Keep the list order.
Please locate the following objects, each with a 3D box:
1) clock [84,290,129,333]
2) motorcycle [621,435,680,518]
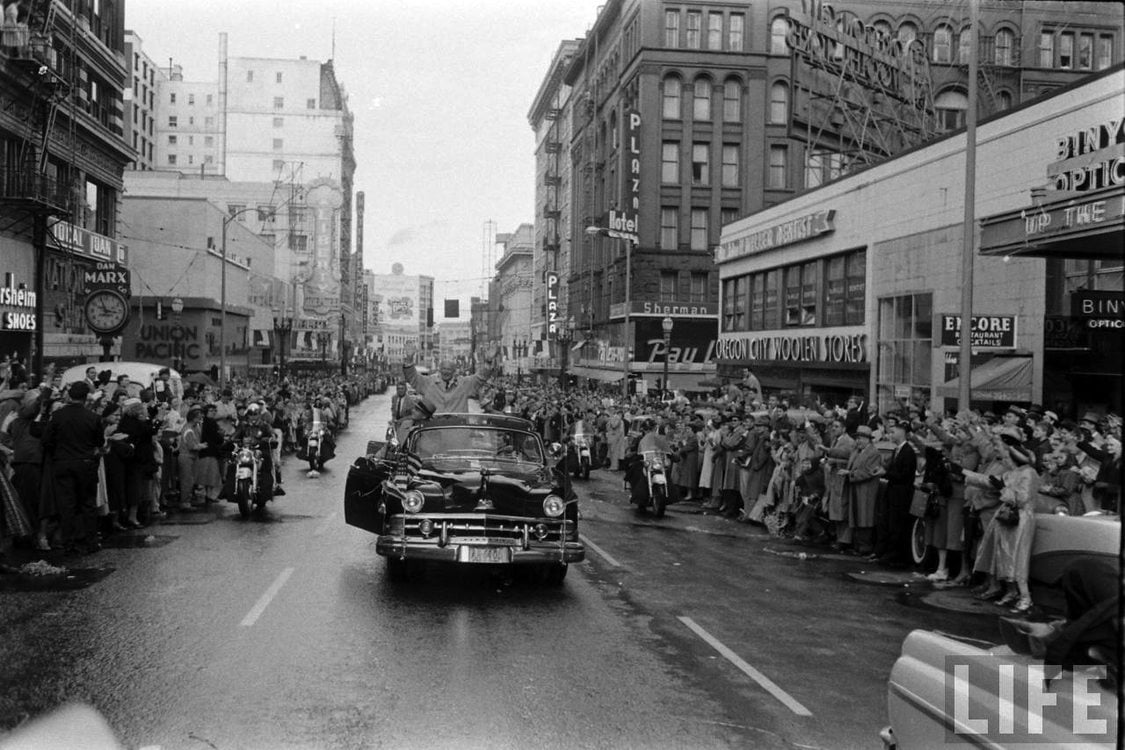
[{"bbox_3d":[-14.887,-2.115,36.327,1.624,1.860,0.538,0,-4,-1],"label":"clock"},{"bbox_3d":[2.068,2.330,25.830,0.968,1.906,1.628,0,1,2],"label":"motorcycle"}]
